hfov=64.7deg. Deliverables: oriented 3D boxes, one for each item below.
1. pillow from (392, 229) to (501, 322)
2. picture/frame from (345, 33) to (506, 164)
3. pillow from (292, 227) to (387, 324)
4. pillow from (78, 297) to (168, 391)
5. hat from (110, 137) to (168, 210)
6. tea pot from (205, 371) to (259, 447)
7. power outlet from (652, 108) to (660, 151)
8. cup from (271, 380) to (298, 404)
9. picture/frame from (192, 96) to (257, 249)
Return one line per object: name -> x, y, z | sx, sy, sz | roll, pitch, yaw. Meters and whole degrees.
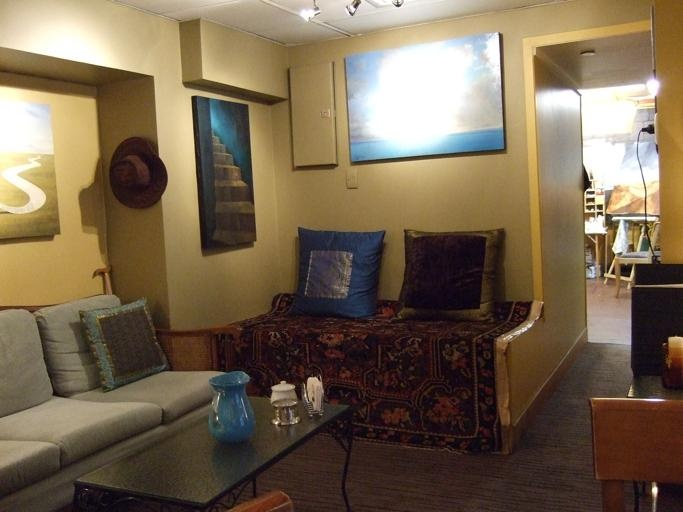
pillow -> 0.778, 0.143, 3.849 | 0.569, 0.578, 0.222 | 4, -8, 21
picture/frame -> 0.680, -1.208, 4.076 | 0.977, 0.717, 0.019 | -2, 4, 24
pillow -> 0.002, 0.165, 4.174 | 0.625, 0.684, 0.233 | 1, -12, 14
pillow -> -1.357, 0.539, 3.325 | 0.126, 0.475, 0.477 | -19, 0, 34
hat -> -1.417, -0.566, 3.670 | 0.458, 0.494, 0.165 | 1, 7, 29
tea pot -> -0.504, 0.699, 2.470 | 0.214, 0.328, 0.288 | 0, -5, -7
power outlet -> 1.577, -0.621, 2.699 | 0.017, 0.195, 0.195 | 1, 7, 28
cup -> -0.294, 0.681, 2.775 | 0.114, 0.124, 0.118 | -1, 4, 0
picture/frame -> -0.900, -0.634, 4.100 | 0.163, 1.083, 0.581 | 0, 7, 22
